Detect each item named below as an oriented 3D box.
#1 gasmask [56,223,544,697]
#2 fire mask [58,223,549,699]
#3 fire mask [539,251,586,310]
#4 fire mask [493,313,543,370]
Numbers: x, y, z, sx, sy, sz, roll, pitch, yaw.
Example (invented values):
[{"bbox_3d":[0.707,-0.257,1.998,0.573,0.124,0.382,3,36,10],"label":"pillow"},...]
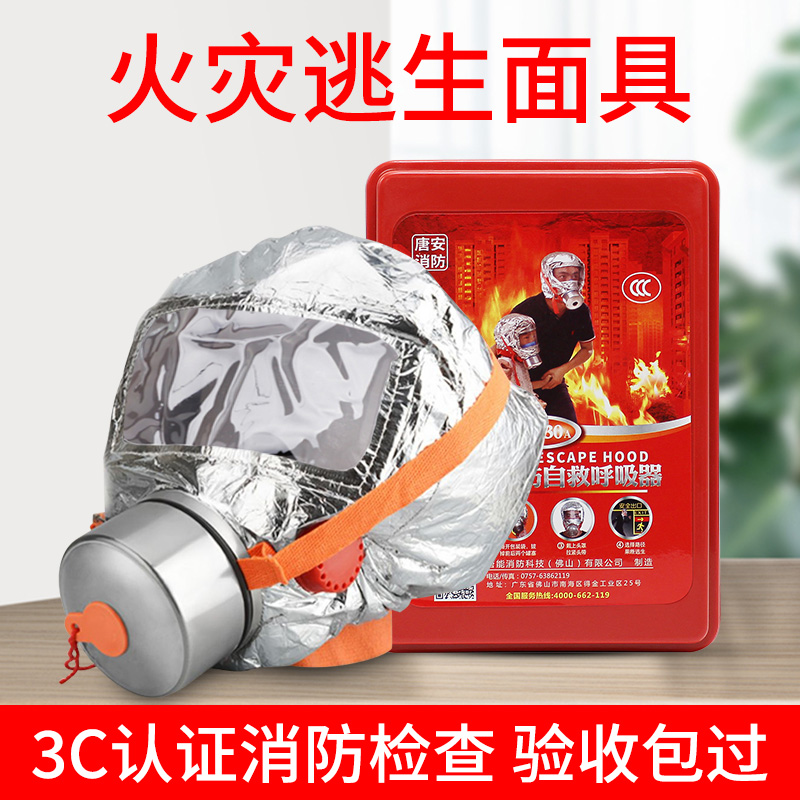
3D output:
[{"bbox_3d":[-0.048,0.050,0.654,0.273,0.183,0.350,30,44,25],"label":"gasmask"},{"bbox_3d":[-0.084,0.023,0.658,0.303,0.188,0.373,19,51,28],"label":"fire mask"},{"bbox_3d":[0.134,-0.097,0.744,0.037,0.044,0.045,-3,6,-20],"label":"fire mask"},{"bbox_3d":[0.097,-0.049,0.746,0.039,0.042,0.040,-6,6,-18],"label":"fire mask"}]
